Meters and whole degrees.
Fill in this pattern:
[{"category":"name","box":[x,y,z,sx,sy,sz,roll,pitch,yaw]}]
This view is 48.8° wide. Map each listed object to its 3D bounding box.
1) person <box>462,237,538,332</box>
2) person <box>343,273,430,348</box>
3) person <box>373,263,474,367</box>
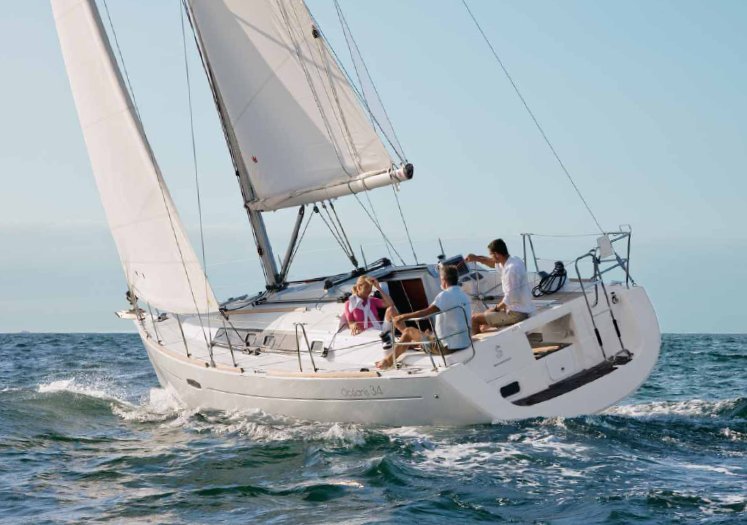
[{"category":"person","box":[1.619,0.230,10.226,0.725,1.097,1.258,-1,8,16]},{"category":"person","box":[0.066,0.558,10.298,1.025,0.844,0.657,-7,-1,37]},{"category":"person","box":[0.623,0.606,9.493,1.004,1.158,0.666,-2,8,11]}]
